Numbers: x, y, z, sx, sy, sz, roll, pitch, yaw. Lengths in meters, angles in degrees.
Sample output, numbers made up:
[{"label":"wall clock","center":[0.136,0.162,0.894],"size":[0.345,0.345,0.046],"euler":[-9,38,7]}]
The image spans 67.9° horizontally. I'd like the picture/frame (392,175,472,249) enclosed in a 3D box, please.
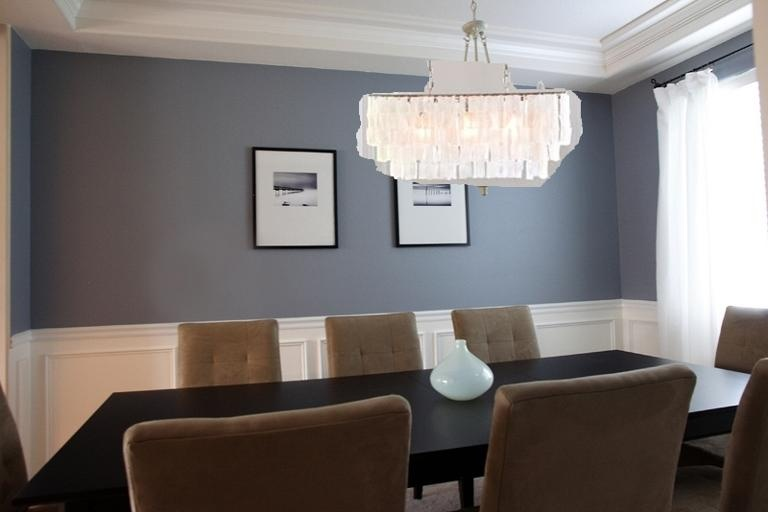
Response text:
[{"label":"picture/frame","center":[0.369,-0.369,4.828],"size":[0.560,0.607,0.022],"euler":[-1,-2,-10]}]
